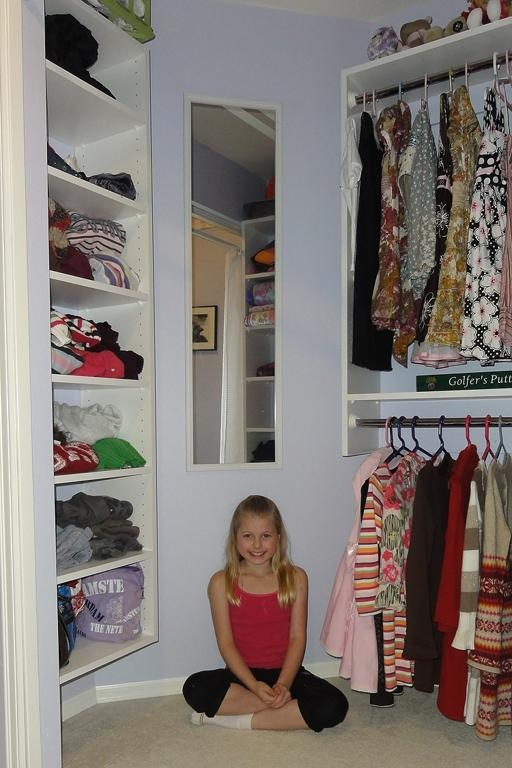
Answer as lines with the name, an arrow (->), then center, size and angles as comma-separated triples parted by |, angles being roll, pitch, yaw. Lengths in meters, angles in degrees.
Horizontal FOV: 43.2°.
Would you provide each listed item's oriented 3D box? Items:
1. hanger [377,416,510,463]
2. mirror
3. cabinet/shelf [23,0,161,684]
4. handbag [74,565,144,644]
hanger -> 0.583, 0.151, 1.962 | 0.367, 0.119, 0.470 | 0, -1, -26
mirror -> -0.069, -0.371, 2.153 | 0.333, 1.455, 0.052 | 0, -20, -1
cabinet/shelf -> -0.516, -0.127, 1.835 | 0.362, 1.786, 0.467 | 0, 0, 20
handbag -> -0.439, 0.638, 1.907 | 0.187, 0.250, 0.128 | 2, 3, -7
